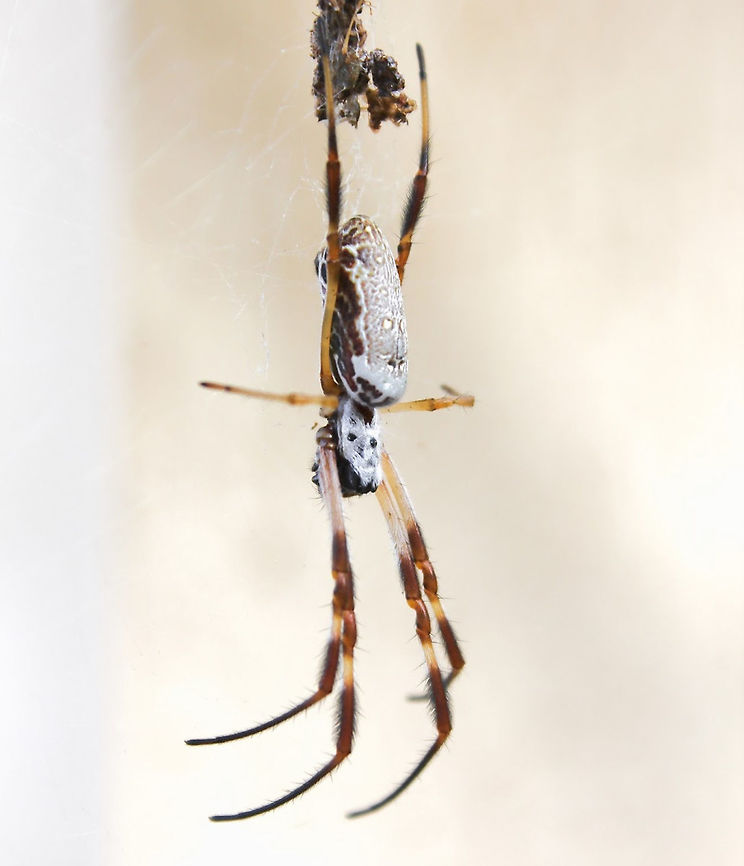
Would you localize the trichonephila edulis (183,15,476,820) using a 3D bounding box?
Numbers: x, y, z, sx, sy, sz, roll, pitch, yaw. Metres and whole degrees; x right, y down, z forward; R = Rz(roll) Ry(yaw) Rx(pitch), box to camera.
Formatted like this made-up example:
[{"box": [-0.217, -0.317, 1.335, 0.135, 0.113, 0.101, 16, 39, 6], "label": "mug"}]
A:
[{"box": [-0.011, -0.038, 2.228, 0.442, 0.190, 1.693, 0, -84, -14], "label": "trichonephila edulis"}]
